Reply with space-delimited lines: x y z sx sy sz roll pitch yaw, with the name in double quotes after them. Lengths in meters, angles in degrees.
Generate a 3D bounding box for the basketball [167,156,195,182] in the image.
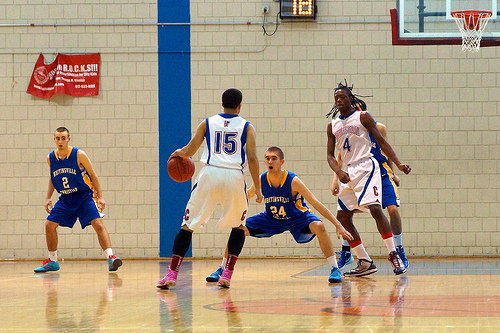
-0.983 0.042 12.441 0.371 0.355 0.362 5 -1 37 "basketball"

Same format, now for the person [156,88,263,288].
-0.462 0.315 12.229 1.265 2.744 0.394 -1 5 -5 "person"

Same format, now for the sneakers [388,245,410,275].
2.184 1.385 13.114 0.177 0.200 0.480 -30 10 7 "sneakers"

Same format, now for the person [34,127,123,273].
-2.742 0.531 13.905 1.222 2.250 0.405 0 5 4 "person"

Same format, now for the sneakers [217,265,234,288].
-0.353 1.552 12.286 0.137 0.158 0.356 2 -20 3 "sneakers"

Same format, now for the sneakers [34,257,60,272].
-3.241 1.575 14.004 0.494 0.212 0.161 0 -3 -6 "sneakers"

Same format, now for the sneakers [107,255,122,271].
-2.105 1.513 13.833 0.197 0.264 0.272 -1 5 -11 "sneakers"

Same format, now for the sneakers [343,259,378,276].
1.574 1.511 13.171 0.624 0.286 0.203 -3 -7 9 "sneakers"
